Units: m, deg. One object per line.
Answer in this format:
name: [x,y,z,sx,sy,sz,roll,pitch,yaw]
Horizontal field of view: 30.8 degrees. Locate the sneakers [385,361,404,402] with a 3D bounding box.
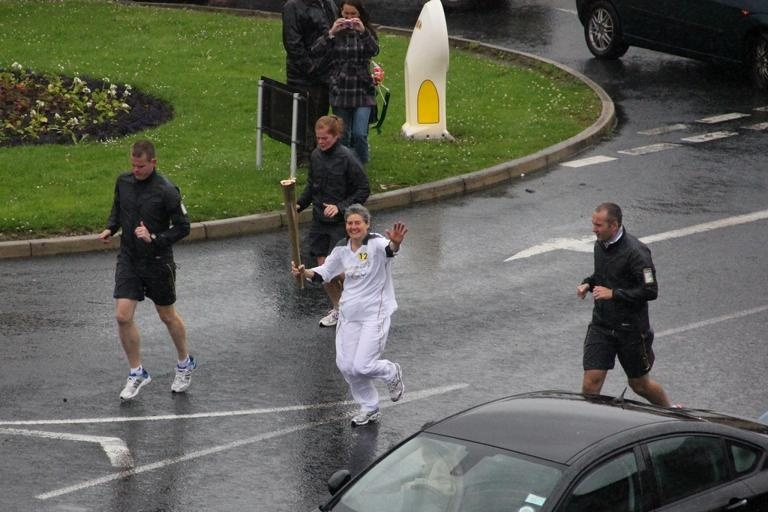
sneakers: [0.120,1.597,17.578,0.243,0.486,0.206,-8,6,-32]

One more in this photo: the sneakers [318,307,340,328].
sneakers: [-0.715,0.871,19.318,0.375,0.161,0.157,-25,47,-6]

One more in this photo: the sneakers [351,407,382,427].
sneakers: [-0.255,1.995,17.354,0.383,0.159,0.157,-9,28,-23]

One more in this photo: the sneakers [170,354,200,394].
sneakers: [-2.563,1.556,17.936,0.212,0.552,0.251,10,-18,8]
